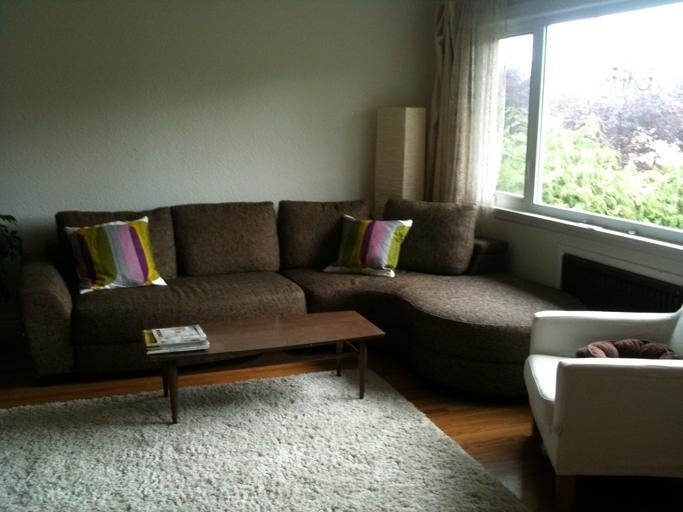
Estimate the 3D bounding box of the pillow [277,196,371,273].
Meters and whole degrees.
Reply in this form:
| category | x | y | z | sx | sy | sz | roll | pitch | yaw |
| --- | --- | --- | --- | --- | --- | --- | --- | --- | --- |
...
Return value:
| category | x | y | z | sx | sy | sz | roll | pitch | yaw |
| --- | --- | --- | --- | --- | --- | --- | --- | --- | --- |
| pillow | -0.156 | -0.149 | 4.506 | 0.651 | 0.402 | 0.212 | -2 | 10 | -11 |

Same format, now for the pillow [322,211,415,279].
| category | x | y | z | sx | sy | sz | roll | pitch | yaw |
| --- | --- | --- | --- | --- | --- | --- | --- | --- | --- |
| pillow | 0.201 | -0.088 | 4.391 | 0.583 | 0.425 | 0.355 | 6 | 12 | 28 |

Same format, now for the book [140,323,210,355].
| category | x | y | z | sx | sy | sz | roll | pitch | yaw |
| --- | --- | --- | --- | --- | --- | --- | --- | --- | --- |
| book | -0.905 | 0.460 | 3.048 | 0.330 | 0.065 | 0.292 | -5 | 13 | -18 |

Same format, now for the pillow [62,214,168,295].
| category | x | y | z | sx | sy | sz | roll | pitch | yaw |
| --- | --- | --- | --- | --- | --- | --- | --- | --- | --- |
| pillow | -1.611 | -0.010 | 3.939 | 0.545 | 0.439 | 0.412 | -9 | 16 | -29 |

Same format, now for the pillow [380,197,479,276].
| category | x | y | z | sx | sy | sz | roll | pitch | yaw |
| --- | --- | --- | --- | --- | --- | --- | --- | --- | --- |
| pillow | 0.696 | -0.149 | 4.605 | 0.930 | 0.587 | 0.419 | 12 | -9 | 42 |
